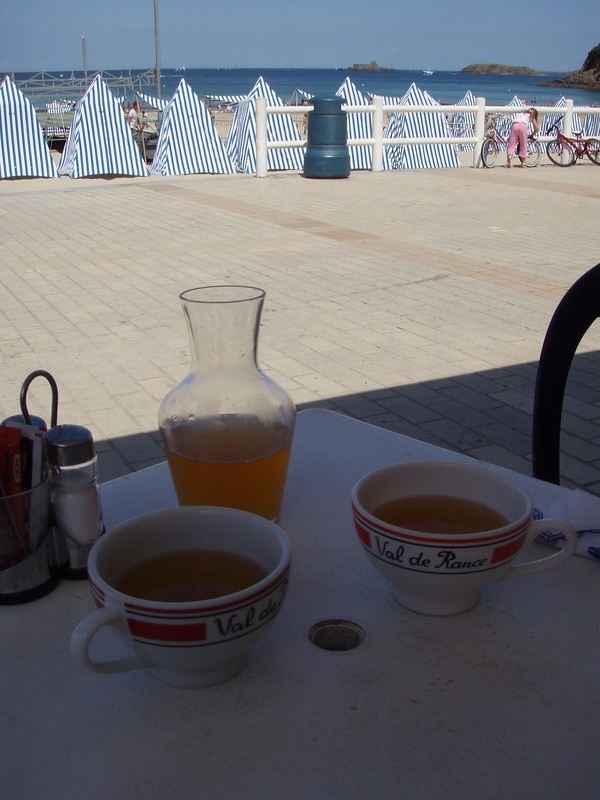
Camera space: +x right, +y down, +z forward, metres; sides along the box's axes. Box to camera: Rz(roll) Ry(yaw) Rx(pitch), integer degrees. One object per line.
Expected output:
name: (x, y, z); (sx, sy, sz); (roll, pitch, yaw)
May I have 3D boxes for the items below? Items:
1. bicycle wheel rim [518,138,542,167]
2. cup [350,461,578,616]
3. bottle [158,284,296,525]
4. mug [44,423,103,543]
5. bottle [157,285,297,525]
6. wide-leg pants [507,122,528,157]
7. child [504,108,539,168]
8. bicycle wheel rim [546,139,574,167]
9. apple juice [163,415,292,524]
bicycle wheel rim: (6.145, -6.658, 16.580); (0.247, 0.974, 1.031); (9, 16, 44)
cup: (0.181, 0.173, 0.716); (0.231, 0.119, 0.191); (7, 14, 26)
bottle: (-0.098, 0.019, 0.906); (0.212, 0.349, 0.195); (0, 15, 0)
mug: (-0.280, 0.128, 0.789); (0.062, 0.198, 0.055); (1, 28, -5)
bottle: (-0.103, 0.021, 0.903); (0.202, 0.336, 0.195); (-1, 16, 0)
wide-leg pants: (5.322, -6.329, 15.274); (0.464, 0.779, 0.642); (2, 17, 17)
child: (5.519, -6.412, 15.308); (0.873, 1.436, 0.538); (6, -2, -22)
bicycle wheel rim: (6.584, -6.262, 15.980); (0.187, 0.775, 0.816); (-13, 12, 45)
apple juice: (-0.101, 0.112, 0.894); (0.194, 0.153, 0.213); (-9, -1, 10)
